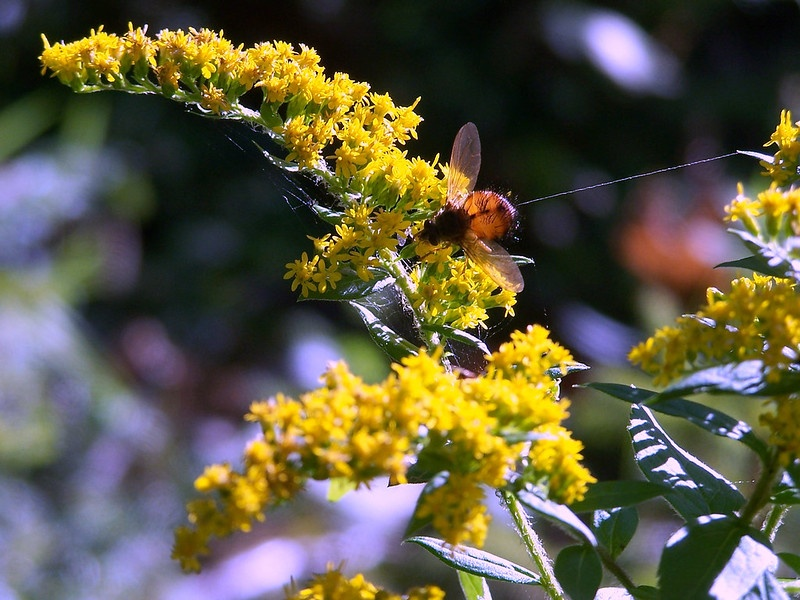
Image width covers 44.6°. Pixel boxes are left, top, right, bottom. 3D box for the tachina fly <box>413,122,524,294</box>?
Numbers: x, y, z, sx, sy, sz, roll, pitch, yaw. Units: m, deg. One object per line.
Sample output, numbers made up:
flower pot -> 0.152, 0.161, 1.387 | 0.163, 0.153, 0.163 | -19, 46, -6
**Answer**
tachina fly -> 0.133, -0.155, 1.978 | 0.219, 0.092, 0.317 | -15, -69, 26
